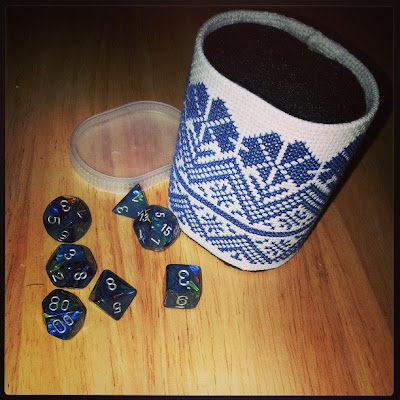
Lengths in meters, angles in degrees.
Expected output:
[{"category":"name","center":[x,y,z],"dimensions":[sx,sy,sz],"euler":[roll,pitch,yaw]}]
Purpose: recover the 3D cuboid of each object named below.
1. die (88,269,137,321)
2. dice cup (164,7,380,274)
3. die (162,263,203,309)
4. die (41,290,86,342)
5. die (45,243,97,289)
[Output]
[{"category":"die","center":[-0.108,0.113,0.580],"dimensions":[0.052,0.058,0.024],"euler":[-23,22,28]},{"category":"dice cup","center":[0.037,-0.094,0.628],"dimensions":[0.230,0.306,0.286],"euler":[3,53,-9]},{"category":"die","center":[-0.020,0.105,0.574],"dimensions":[0.043,0.052,0.053],"euler":[1,46,-5]},{"category":"die","center":[-0.163,0.137,0.554],"dimensions":[0.050,0.054,0.028],"euler":[31,7,8]},{"category":"die","center":[-0.160,0.081,0.598],"dimensions":[0.047,0.063,0.041],"euler":[-13,16,9]}]
